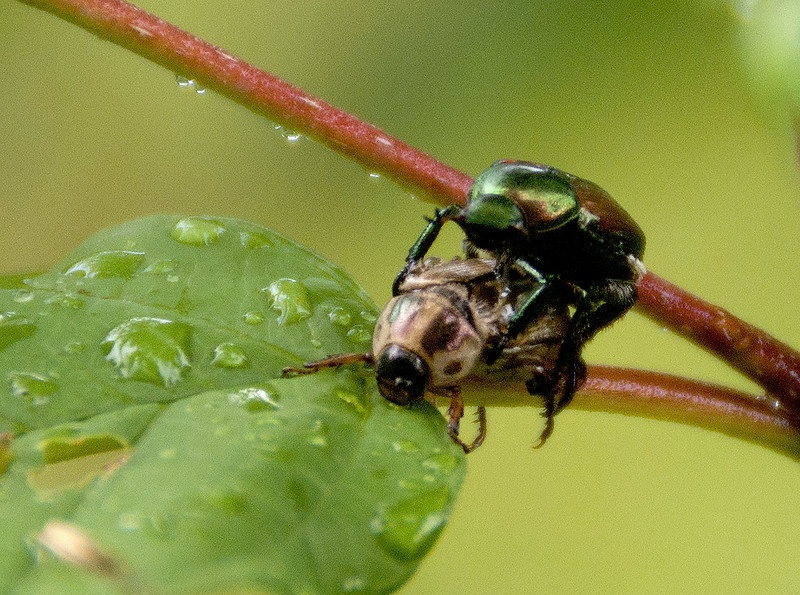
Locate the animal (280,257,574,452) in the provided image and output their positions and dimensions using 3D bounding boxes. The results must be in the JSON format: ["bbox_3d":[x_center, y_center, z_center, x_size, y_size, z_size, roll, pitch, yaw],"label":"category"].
[{"bbox_3d":[0.056,0.037,0.720,0.188,0.236,0.079,29,-36,18],"label":"animal"}]

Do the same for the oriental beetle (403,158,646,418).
[{"bbox_3d":[0.152,-0.042,0.850,0.323,0.266,0.219,9,-74,-7],"label":"oriental beetle"}]
